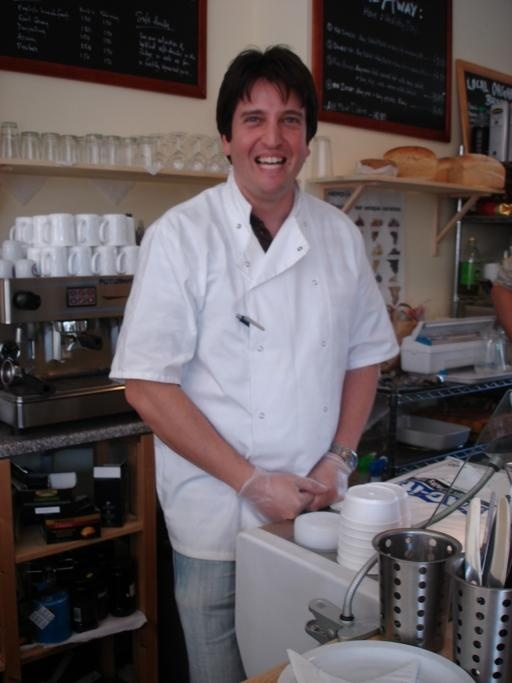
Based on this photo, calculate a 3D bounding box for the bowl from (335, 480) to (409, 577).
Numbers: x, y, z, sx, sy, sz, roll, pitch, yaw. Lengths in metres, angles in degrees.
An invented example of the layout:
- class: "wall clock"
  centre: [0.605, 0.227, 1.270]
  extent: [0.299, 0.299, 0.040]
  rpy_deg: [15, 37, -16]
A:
- class: "bowl"
  centre: [0.147, 0.250, 0.811]
  extent: [0.097, 0.085, 0.093]
  rpy_deg: [-1, 7, 0]

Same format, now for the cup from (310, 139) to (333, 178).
- class: "cup"
  centre: [0.278, -0.799, 2.616]
  extent: [0.120, 0.179, 0.116]
  rpy_deg: [-2, 11, 0]

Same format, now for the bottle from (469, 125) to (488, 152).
- class: "bottle"
  centre: [1.245, -1.116, 3.334]
  extent: [0.103, 0.167, 0.053]
  rpy_deg: [0, 1, 38]

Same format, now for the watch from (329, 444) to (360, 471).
- class: "watch"
  centre: [0.181, 0.229, 1.215]
  extent: [0.057, 0.039, 0.062]
  rpy_deg: [42, -36, -22]

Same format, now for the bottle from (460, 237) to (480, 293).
- class: "bottle"
  centre: [1.202, -0.418, 3.388]
  extent: [0.103, 0.306, 0.092]
  rpy_deg: [0, 1, 26]

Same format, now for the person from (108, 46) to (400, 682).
- class: "person"
  centre: [0.011, 0.059, 1.196]
  extent: [0.430, 1.218, 0.459]
  rpy_deg: [0, 1, 22]
